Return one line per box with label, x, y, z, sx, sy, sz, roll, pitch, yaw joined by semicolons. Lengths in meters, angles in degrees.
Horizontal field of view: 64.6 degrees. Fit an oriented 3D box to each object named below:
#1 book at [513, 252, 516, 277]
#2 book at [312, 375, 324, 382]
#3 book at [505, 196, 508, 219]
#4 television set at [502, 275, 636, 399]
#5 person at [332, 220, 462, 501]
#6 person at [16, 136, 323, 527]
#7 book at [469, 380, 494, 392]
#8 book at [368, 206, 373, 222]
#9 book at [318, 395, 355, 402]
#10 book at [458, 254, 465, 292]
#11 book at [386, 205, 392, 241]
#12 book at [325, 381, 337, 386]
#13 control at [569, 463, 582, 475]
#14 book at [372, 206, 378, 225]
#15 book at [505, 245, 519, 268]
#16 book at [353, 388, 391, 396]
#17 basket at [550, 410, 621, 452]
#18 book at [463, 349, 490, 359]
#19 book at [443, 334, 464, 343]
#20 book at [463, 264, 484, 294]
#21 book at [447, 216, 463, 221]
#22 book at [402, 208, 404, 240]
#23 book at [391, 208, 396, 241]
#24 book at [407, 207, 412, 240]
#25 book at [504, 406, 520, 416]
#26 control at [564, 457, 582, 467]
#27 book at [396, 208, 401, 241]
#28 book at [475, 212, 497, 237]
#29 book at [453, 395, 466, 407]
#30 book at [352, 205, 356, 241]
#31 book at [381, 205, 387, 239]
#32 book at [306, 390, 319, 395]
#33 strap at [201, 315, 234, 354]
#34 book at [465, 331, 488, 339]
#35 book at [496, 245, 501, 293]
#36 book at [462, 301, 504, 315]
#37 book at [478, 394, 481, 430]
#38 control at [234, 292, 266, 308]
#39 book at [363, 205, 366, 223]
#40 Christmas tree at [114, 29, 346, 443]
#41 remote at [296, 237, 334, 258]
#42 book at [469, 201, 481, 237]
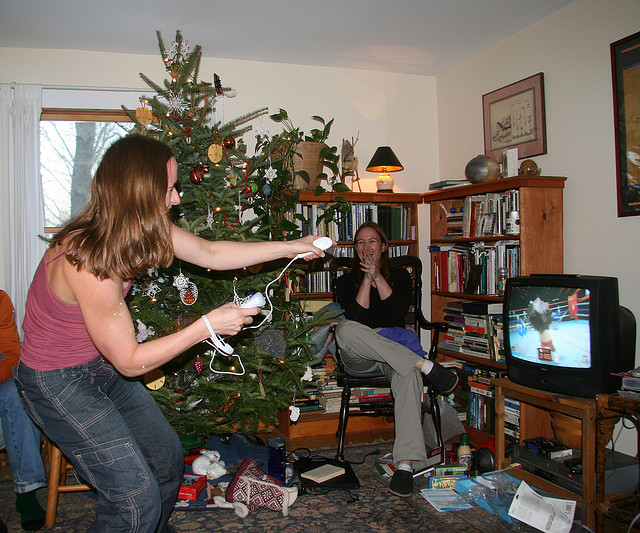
book;1.244;-0.017;3.230;0.015;0.144;0.030;-1;4;13
book;-0.007;0.770;3.515;0.053;0.048;0.029;1;-5;-17
book;1.215;-0.412;3.295;0.014;0.103;0.042;-2;4;5
television set;1.272;0.352;2.733;0.631;0.589;0.651;3;-4;-28
person;0.426;0.450;3.041;0.696;1.451;1.080;-2;4;1
person;-0.725;0.295;1.908;0.819;1.532;0.407;-2;4;-3
book;1.056;0.772;3.287;0.176;0.041;0.175;8;-6;-36
book;0.407;-0.441;4.104;0.037;0.107;0.012;-2;4;-3
book;0.075;0.909;3.471;0.126;0.028;0.124;1;0;-11
book;1.047;0.042;3.744;0.040;0.279;0.221;-7;-16;15
book;0.564;-0.359;4.147;0.045;0.283;0.055;-1;4;11
book;0.069;0.801;3.486;0.072;0.017;0.071;0;0;-13
control;1.236;0.974;2.442;0.043;0.026;0.042;0;-8;-38
book;0.449;-0.429;4.112;0.045;0.133;0.020;-4;5;-30
book;1.238;-0.071;3.267;0.020;0.143;0.103;-5;5;-31
book;0.354;0.817;3.321;0.229;0.050;0.035;-3;4;-17
basket;1.361;0.785;2.627;0.299;0.200;0.294;1;-3;-6
book;1.058;0.587;3.431;0.013;0.031;0.224;-5;5;-32
book;0.957;0.507;3.626;0.023;0.035;0.211;-4;4;-23
book;1.083;0.088;3.570;0.043;0.172;0.175;15;14;-3
book;1.009;-0.366;3.775;0.011;0.033;0.152;-4;5;-29
book;0.689;-0.365;4.195;0.009;0.238;0.029;0;5;26
book;0.602;-0.360;4.163;0.055;0.253;0.021;-4;5;-28
book;0.747;-0.368;4.217;0.031;0.250;0.063;1;5;38
book;1.148;0.859;3.014;0.012;0.038;0.105;-5;5;-31
control;1.247;0.954;2.496;0.058;0.013;0.040;-3;3;-17
book;0.648;-0.361;4.172;0.051;0.253;0.022;-3;4;-17
book;1.128;-0.286;3.456;0.035;0.137;0.140;11;-7;-34
book;1.013;0.964;3.646;0.040;0.047;0.141;-3;4;-16
book;0.270;-0.385;4.038;0.030;0.225;0.049;-2;4;4
book;0.523;-0.381;4.141;0.049;0.247;0.039;-3;4;-14
book;-0.050;0.862;3.465;0.046;0.011;0.043;1;-3;-31
strap;-0.364;0.254;1.789;0.035;0.142;0.105;-32;4;-5
book;1.060;0.459;3.436;0.004;0.038;0.206;-4;5;-29
book;1.186;0.013;3.360;0.023;0.320;0.070;-1;4;12
book;1.107;0.279;3.446;0.134;0.089;0.273;-5;5;-38
book;1.054;0.960;3.350;0.020;0.232;0.027;1;5;38
control;-0.262;0.127;1.891;0.107;0.058;0.167;-2;4;-5
book;0.354;-0.437;4.087;0.014;0.122;0.030;2;6;43
Christmas tree;-0.552;-0.089;2.837;1.036;2.514;0.687;-4;5;-21
remote;-0.016;-0.086;2.142;0.150;0.072;0.031;-17;-9;24
book;1.102;-0.347;3.578;0.042;0.307;0.240;2;5;12
